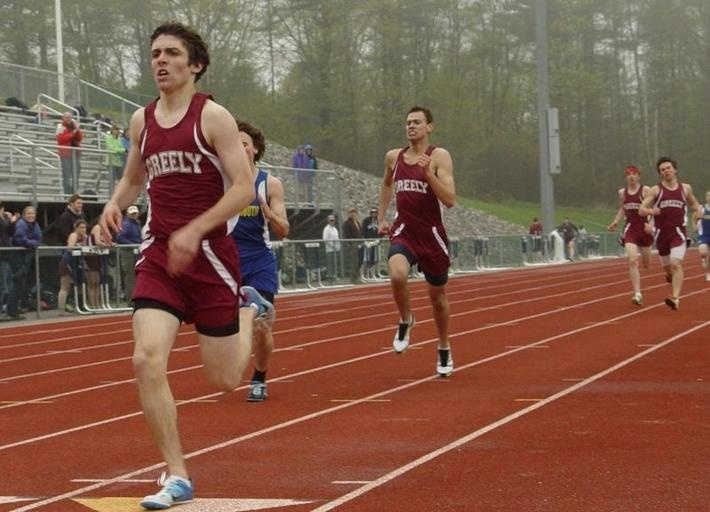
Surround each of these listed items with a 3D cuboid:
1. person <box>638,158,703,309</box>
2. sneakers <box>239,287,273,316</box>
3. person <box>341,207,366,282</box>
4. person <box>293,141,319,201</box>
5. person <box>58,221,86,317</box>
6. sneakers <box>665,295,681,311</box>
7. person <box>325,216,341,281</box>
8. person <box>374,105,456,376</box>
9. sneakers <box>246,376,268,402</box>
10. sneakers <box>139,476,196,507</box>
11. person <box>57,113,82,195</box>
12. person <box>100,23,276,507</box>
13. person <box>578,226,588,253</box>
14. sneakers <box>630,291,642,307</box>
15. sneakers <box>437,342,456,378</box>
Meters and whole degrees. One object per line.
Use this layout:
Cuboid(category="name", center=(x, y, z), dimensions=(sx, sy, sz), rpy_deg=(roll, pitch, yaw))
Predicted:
Cuboid(category="person", center=(4.834, -0.360, 11.459), dimensions=(0.609, 2.307, 1.195), rpy_deg=(0, 3, 33))
Cuboid(category="sneakers", center=(-0.670, 0.313, 5.077), dimensions=(0.112, 0.147, 0.351), rpy_deg=(-17, -30, 40))
Cuboid(category="person", center=(-0.031, -0.261, 18.951), dimensions=(0.455, 1.884, 1.030), rpy_deg=(-2, 3, 0))
Cuboid(category="person", center=(-1.466, -2.388, 21.770), dimensions=(0.641, 1.741, 1.382), rpy_deg=(-1, 3, 3))
Cuboid(category="person", center=(-5.009, 0.172, 13.119), dimensions=(0.422, 1.608, 0.758), rpy_deg=(-2, 3, -13))
Cuboid(category="sneakers", center=(4.789, 0.718, 11.176), dimensions=(0.148, 0.192, 0.450), rpy_deg=(2, -28, 24))
Cuboid(category="person", center=(-0.563, -0.170, 18.499), dimensions=(0.414, 1.584, 1.497), rpy_deg=(-2, 3, -1))
Cuboid(category="person", center=(0.554, -0.117, 6.808), dimensions=(0.743, 2.493, 1.075), rpy_deg=(-3, 3, -32))
Cuboid(category="sneakers", center=(-0.815, 1.120, 6.188), dimensions=(0.089, 0.108, 0.255), rpy_deg=(0, -1, 5))
Cuboid(category="sneakers", center=(-0.899, 1.163, 3.733), dimensions=(0.109, 0.148, 0.324), rpy_deg=(-1, -2, 43))
Cuboid(category="person", center=(-6.079, -2.181, 15.898), dimensions=(0.509, 1.778, 1.345), rpy_deg=(-2, 3, -20))
Cuboid(category="person", center=(-0.926, -0.001, 4.033), dimensions=(0.796, 2.495, 0.856), rpy_deg=(-2, 3, -18))
Cuboid(category="person", center=(10.337, -0.611, 33.716), dimensions=(0.436, 1.139, 1.182), rpy_deg=(-1, 3, 20))
Cuboid(category="sneakers", center=(4.640, 0.716, 12.275), dimensions=(0.177, 0.261, 0.551), rpy_deg=(-4, -14, 24))
Cuboid(category="sneakers", center=(0.856, 0.953, 6.922), dimensions=(0.134, 0.153, 0.367), rpy_deg=(-1, 34, 12))
